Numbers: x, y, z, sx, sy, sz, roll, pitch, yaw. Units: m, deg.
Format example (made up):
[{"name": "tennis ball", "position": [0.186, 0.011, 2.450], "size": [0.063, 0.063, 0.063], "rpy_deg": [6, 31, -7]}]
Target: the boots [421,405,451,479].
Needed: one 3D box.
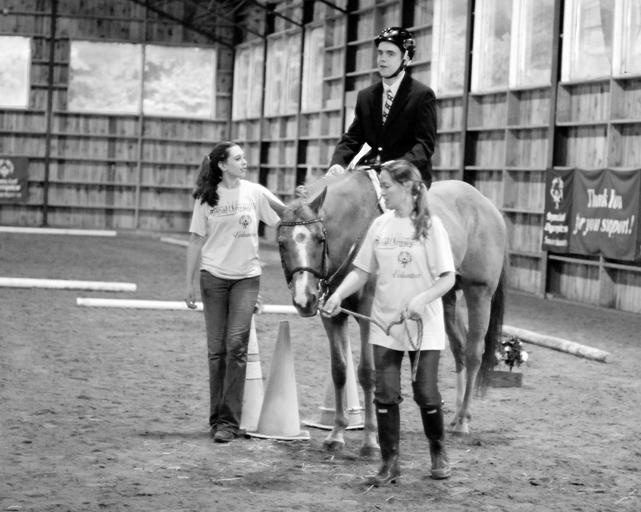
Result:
[{"name": "boots", "position": [1.095, 1.682, 10.996], "size": [0.177, 0.684, 0.469], "rpy_deg": [-8, 4, 14]}]

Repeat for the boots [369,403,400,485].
[{"name": "boots", "position": [0.588, 1.697, 10.765], "size": [0.349, 0.739, 0.161], "rpy_deg": [2, -7, -26]}]

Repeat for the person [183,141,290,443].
[{"name": "person", "position": [-0.915, 0.333, 12.074], "size": [0.986, 2.834, 1.137], "rpy_deg": [0, 1, -19]}]

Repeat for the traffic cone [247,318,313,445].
[{"name": "traffic cone", "position": [-0.405, 1.270, 11.856], "size": [0.446, 1.264, 0.558], "rpy_deg": [1, 1, -5]}]

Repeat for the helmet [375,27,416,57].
[{"name": "helmet", "position": [0.748, -2.116, 11.686], "size": [0.330, 0.297, 0.262], "rpy_deg": [-1, -3, -12]}]

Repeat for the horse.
[{"name": "horse", "position": [0.786, 0.544, 12.157], "size": [3.363, 2.861, 0.871], "rpy_deg": [-1, 7, -42]}]
